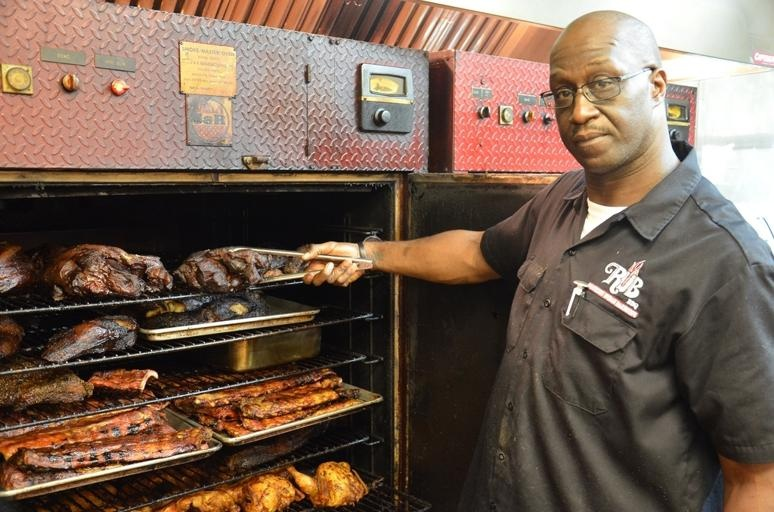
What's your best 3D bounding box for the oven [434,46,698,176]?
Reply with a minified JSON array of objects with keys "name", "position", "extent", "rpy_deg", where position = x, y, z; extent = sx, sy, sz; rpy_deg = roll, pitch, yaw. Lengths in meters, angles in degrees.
[{"name":"oven","position":[0.835,-0.755,3.087],"extent":[1.226,0.388,0.418],"rpy_deg":[-4,5,-37]}]
